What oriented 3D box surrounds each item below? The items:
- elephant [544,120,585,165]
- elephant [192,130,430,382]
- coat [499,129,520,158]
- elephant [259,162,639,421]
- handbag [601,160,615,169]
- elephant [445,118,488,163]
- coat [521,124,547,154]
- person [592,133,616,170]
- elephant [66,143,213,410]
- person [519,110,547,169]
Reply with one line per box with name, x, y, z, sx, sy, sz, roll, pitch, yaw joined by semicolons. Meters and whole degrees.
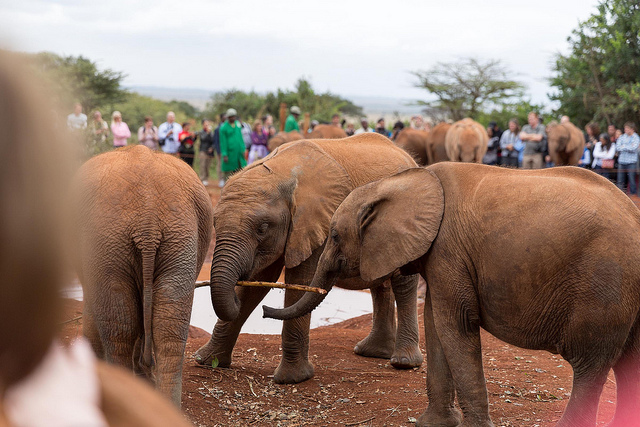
elephant;5.407;-1.561;16.226;0.796;0.968;0.887;5;11;19
elephant;-0.171;0.459;7.147;3.191;2.324;1.134;0;6;-39
coat;4.322;-1.587;16.824;0.313;0.661;0.640;-4;12;-26
elephant;1.374;0.753;5.894;3.312;2.101;1.758;2;10;27
handbag;5.923;-1.012;15.078;0.176;0.180;0.067;-2;-12;28
elephant;3.220;-1.286;16.216;0.913;1.466;2.072;1;-2;8
coat;4.631;-1.696;15.876;0.671;0.842;0.460;3;54;15
person;5.948;-1.085;15.375;0.427;1.145;0.392;4;21;24
elephant;-1.239;0.486;5.135;0.851;1.811;0.792;-1;11;-10
person;4.626;-1.575;15.957;0.583;1.169;0.804;4;11;15
